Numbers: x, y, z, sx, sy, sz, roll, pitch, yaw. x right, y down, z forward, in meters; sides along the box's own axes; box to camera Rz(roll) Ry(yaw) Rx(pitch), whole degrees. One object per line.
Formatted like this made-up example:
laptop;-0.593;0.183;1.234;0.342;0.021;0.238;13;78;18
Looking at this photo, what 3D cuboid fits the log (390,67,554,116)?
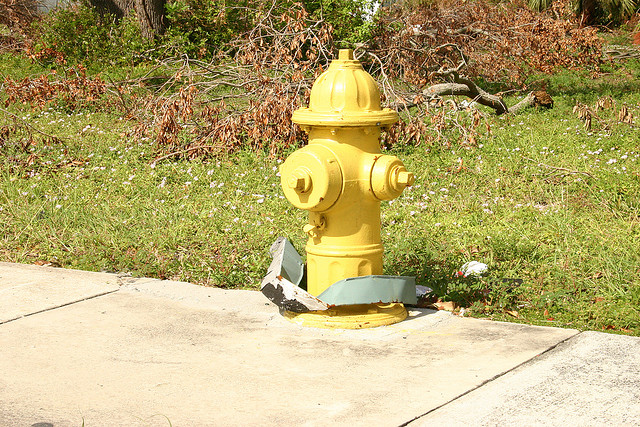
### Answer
log;3.063;-2.381;20.431;3.124;1.159;0.913;-14;19;-35
